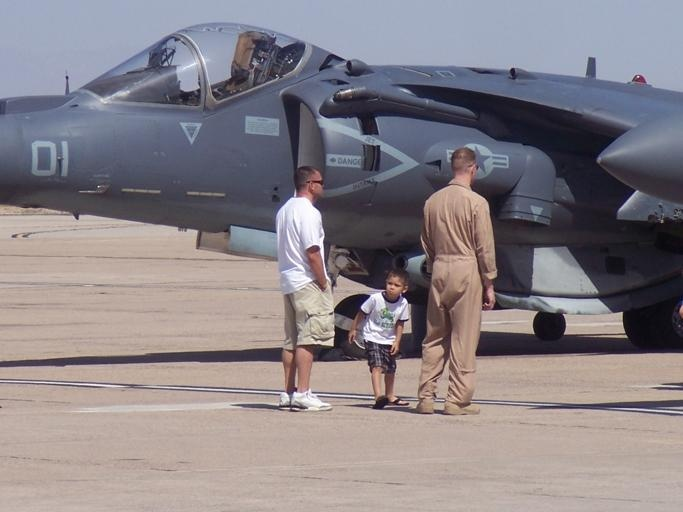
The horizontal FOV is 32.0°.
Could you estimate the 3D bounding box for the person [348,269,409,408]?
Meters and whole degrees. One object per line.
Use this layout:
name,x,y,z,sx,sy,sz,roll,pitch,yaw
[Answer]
person,0.394,0.794,11.707,0.614,1.307,0.935,4,3,1

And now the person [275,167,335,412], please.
person,-0.308,0.311,11.235,0.423,2.290,0.654,1,4,-44

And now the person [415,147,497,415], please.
person,1.090,0.240,11.217,0.721,2.505,0.452,4,3,3

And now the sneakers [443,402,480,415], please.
sneakers,1.125,1.434,11.135,0.371,0.112,0.115,-1,4,-12

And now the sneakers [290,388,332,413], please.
sneakers,-0.277,1.371,11.168,0.397,0.199,0.146,3,3,-2

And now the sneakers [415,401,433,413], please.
sneakers,0.796,1.414,11.136,0.164,0.142,0.128,3,3,-4

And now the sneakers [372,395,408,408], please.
sneakers,0.486,1.397,11.367,0.359,0.062,0.124,-3,5,-20
